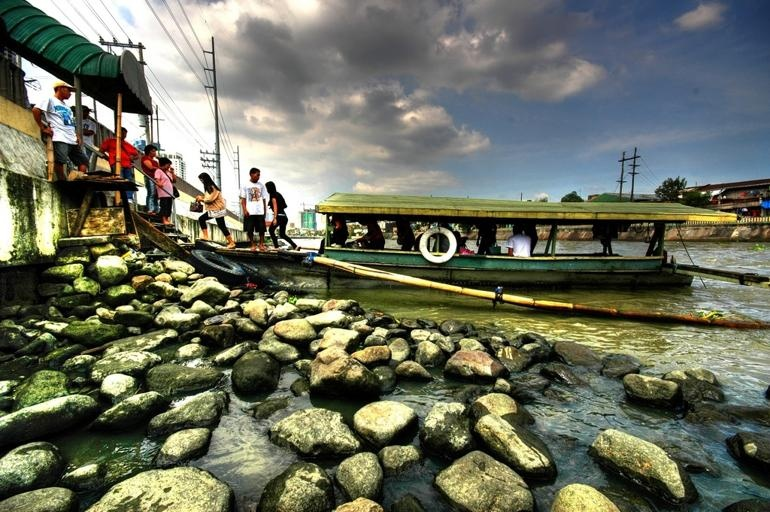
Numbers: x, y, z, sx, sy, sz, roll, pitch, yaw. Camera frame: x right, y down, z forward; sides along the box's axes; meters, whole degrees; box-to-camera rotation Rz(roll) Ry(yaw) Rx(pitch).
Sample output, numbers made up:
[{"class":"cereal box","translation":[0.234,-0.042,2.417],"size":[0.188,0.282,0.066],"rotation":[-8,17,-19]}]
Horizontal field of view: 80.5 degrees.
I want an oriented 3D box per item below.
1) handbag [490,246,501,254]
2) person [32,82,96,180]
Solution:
[{"class":"handbag","translation":[4.075,-0.222,16.807],"size":[0.559,0.317,0.267],"rotation":[-2,5,-5]},{"class":"person","translation":[-9.195,-3.567,13.048],"size":[0.847,2.748,1.102],"rotation":[4,4,10]}]
